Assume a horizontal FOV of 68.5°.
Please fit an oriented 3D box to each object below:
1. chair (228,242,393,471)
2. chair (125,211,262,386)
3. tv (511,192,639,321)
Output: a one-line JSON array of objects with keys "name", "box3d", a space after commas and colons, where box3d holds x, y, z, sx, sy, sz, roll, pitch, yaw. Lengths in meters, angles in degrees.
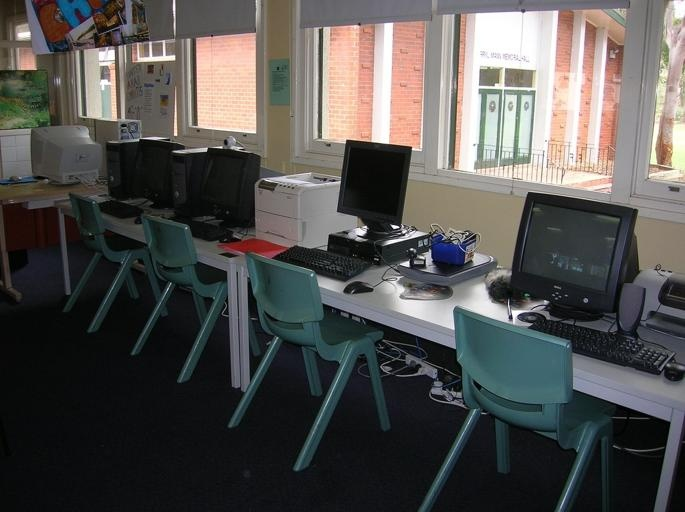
[{"name": "chair", "box3d": [-0.169, 0.486, 2.671, 0.788, 0.978, 0.748, -5, 13, -23]}, {"name": "chair", "box3d": [-0.954, 0.209, 3.413, 0.600, 0.975, 0.696, 12, 17, 33]}, {"name": "tv", "box3d": [1.017, -0.102, 2.375, 0.485, 0.608, 0.581, 13, 22, 42]}]
